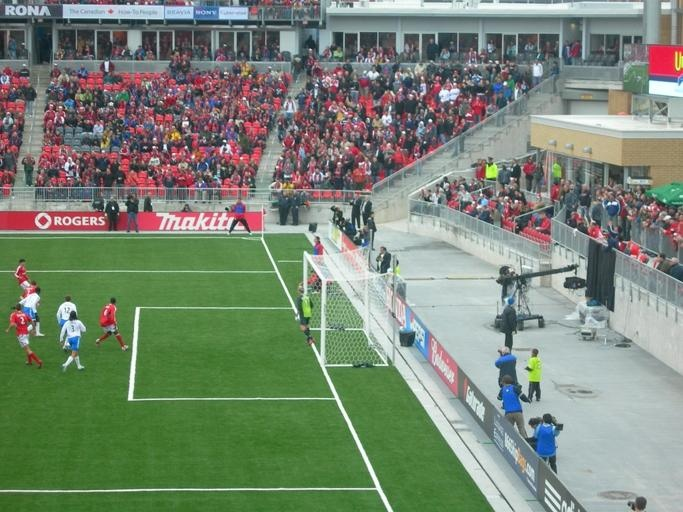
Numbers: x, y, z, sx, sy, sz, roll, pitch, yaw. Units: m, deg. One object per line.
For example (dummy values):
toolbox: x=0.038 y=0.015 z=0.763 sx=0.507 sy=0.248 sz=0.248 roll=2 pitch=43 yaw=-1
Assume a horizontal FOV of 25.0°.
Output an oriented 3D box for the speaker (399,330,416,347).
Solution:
speaker: x=2.553 y=3.102 z=59.353 sx=0.656 sy=0.619 sz=0.570 roll=0 pitch=1 yaw=-2

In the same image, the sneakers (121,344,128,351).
sneakers: x=-8.239 y=3.475 z=58.427 sx=0.317 sy=0.174 sz=0.117 roll=-3 pitch=6 yaw=-25

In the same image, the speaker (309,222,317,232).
speaker: x=-1.450 y=-1.441 z=77.247 sx=0.362 sy=0.372 sz=0.202 roll=18 pitch=29 yaw=26

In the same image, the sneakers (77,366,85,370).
sneakers: x=-9.600 y=4.095 z=56.599 sx=0.237 sy=0.179 sz=0.088 roll=-8 pitch=21 yaw=1

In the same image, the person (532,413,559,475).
person: x=6.671 y=6.192 z=49.840 sx=0.722 sy=2.384 sz=0.722 roll=-1 pitch=16 yaw=9

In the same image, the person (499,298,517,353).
person: x=6.190 y=2.426 z=56.782 sx=0.457 sy=1.962 sz=0.764 roll=-1 pitch=12 yaw=-1

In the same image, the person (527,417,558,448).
person: x=6.526 y=5.721 z=49.773 sx=1.074 sy=1.248 sz=0.392 roll=4 pitch=34 yaw=7

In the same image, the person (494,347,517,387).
person: x=5.750 y=4.125 z=53.609 sx=0.634 sy=2.070 sz=0.594 roll=-10 pitch=23 yaw=-14

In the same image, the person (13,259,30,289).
person: x=-13.574 y=0.798 z=65.158 sx=0.591 sy=1.662 sz=0.560 roll=-9 pitch=25 yaw=-16
